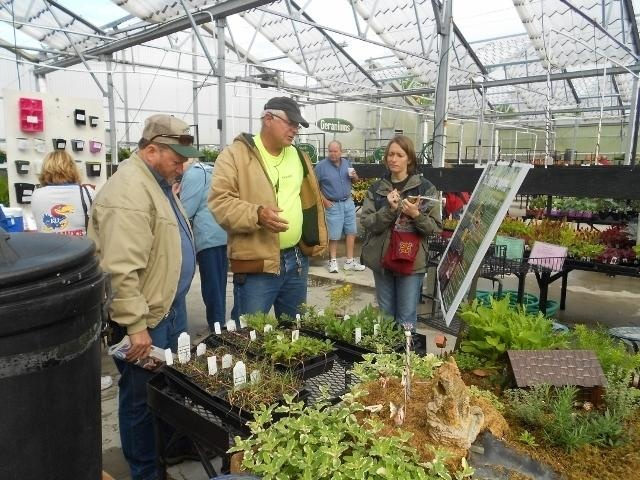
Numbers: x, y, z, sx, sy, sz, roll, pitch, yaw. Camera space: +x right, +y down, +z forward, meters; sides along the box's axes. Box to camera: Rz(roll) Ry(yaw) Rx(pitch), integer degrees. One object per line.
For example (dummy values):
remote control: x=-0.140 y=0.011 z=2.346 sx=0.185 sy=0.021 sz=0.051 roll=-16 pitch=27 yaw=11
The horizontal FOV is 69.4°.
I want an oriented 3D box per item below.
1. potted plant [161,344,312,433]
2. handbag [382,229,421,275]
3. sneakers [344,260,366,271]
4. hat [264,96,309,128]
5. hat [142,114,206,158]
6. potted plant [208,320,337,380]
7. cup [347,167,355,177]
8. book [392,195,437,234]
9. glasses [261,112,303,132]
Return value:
potted plant: x=-0.491 y=0.800 z=2.548 sx=0.483 sy=0.179 sz=0.407 roll=13 pitch=17 yaw=42
handbag: x=0.698 y=0.106 z=3.867 sx=0.288 sy=0.387 sz=0.170 roll=13 pitch=1 yaw=4
sneakers: x=0.616 y=0.477 z=8.499 sx=0.428 sy=0.242 sz=0.174 roll=2 pitch=6 yaw=-3
hat: x=-0.254 y=-0.992 z=3.534 sx=0.366 sy=0.202 sz=0.248 roll=12 pitch=-2 yaw=17
hat: x=-0.977 y=-0.690 z=3.086 sx=0.444 sy=0.258 sz=0.316 roll=12 pitch=9 yaw=18
potted plant: x=-0.309 y=0.686 z=2.963 sx=0.611 sy=0.152 sz=0.379 roll=10 pitch=11 yaw=43
cup: x=0.517 y=-1.128 z=7.705 sx=0.123 sy=0.211 sz=0.137 roll=1 pitch=4 yaw=-2
book: x=0.828 y=-0.204 z=3.819 sx=0.301 sy=0.319 sz=0.167 roll=4 pitch=39 yaw=2
glasses: x=-0.306 y=-0.882 z=3.508 sx=0.292 sy=0.146 sz=0.200 roll=1 pitch=10 yaw=-4
